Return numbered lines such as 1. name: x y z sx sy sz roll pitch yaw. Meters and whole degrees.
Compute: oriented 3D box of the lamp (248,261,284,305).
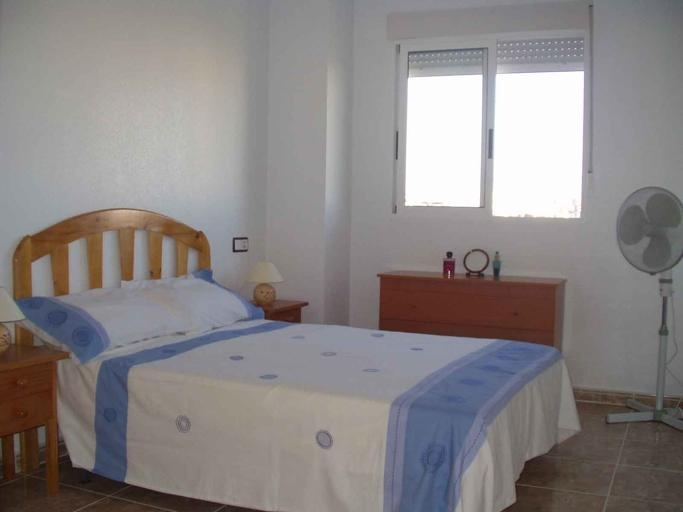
1. lamp: -0.650 0.213 4.849 0.314 0.347 0.318 -2 4 -28
